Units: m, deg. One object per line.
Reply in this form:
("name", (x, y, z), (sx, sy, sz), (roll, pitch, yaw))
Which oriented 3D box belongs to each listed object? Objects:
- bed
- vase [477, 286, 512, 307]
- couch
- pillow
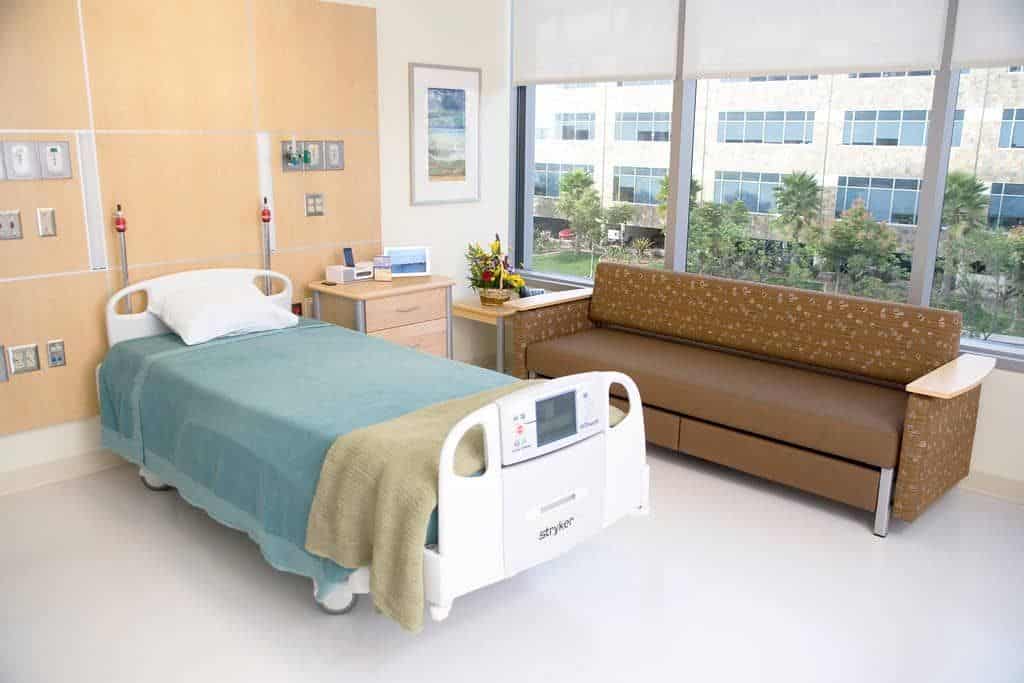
("bed", (-1.153, 0.443, 4.418), (3.408, 1.465, 2.110), (12, 16, 35))
("vase", (-0.166, -0.408, 5.909), (0.213, 0.105, 0.171), (2, 10, 16))
("couch", (1.578, 0.209, 4.988), (3.134, 1.221, 1.241), (14, 20, 42))
("pillow", (-2.042, -0.292, 4.670), (1.006, 0.429, 0.692), (-4, 16, -29))
